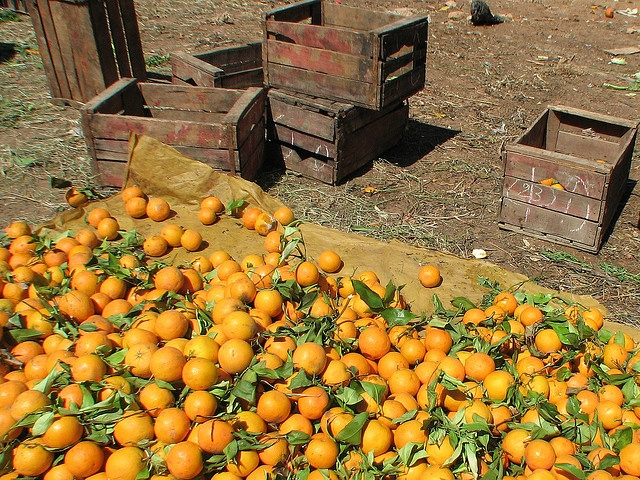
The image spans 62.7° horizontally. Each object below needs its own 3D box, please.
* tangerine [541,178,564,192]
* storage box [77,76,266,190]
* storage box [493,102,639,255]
[{"bbox_3d":[2.578,-0.605,5.775,0.159,0.094,0.174,16,7,6],"label":"tangerine"},{"bbox_3d":[-1.723,-1.283,6.503,1.903,1.031,1.457,2,37,-1],"label":"storage box"},{"bbox_3d":[3.043,-0.811,6.386,1.347,1.085,1.821,24,41,25],"label":"storage box"}]
